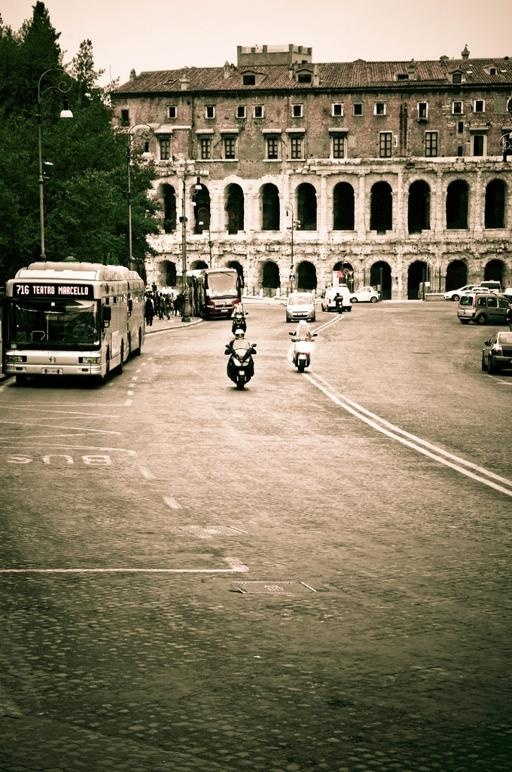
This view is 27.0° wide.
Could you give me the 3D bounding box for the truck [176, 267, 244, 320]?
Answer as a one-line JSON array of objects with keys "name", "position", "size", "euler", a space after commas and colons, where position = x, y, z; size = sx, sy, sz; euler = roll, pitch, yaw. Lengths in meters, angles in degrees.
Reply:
[{"name": "truck", "position": [-3.023, -6.204, 71.833], "size": [2.067, 3.336, 9.083], "euler": [-1, 6, -11]}]
